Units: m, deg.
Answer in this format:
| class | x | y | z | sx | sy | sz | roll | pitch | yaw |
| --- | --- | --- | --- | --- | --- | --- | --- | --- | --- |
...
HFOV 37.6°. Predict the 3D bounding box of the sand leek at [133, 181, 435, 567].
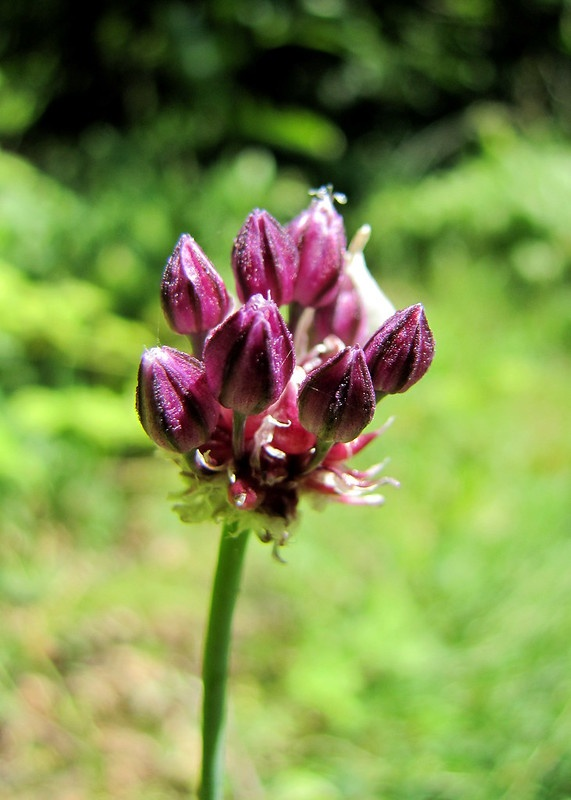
| class | x | y | z | sx | sy | sz | roll | pitch | yaw |
| --- | --- | --- | --- | --- | --- | --- | --- | --- | --- |
| sand leek | -0.003 | -0.039 | 0.663 | 0.281 | 0.307 | 0.239 | 3 | 11 | -5 |
